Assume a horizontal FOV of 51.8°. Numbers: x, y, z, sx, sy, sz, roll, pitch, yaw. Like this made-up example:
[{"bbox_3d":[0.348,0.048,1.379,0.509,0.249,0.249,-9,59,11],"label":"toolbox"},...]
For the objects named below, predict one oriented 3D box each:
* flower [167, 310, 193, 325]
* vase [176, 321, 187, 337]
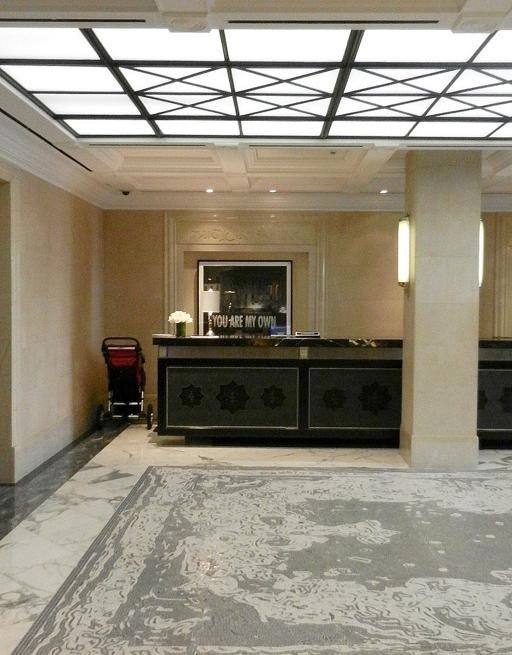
[{"bbox_3d":[-0.892,-0.126,6.381,0.273,0.105,0.258,2,-2,6],"label":"flower"},{"bbox_3d":[-0.884,0.016,6.204,0.096,0.164,0.111,0,1,-15],"label":"vase"}]
